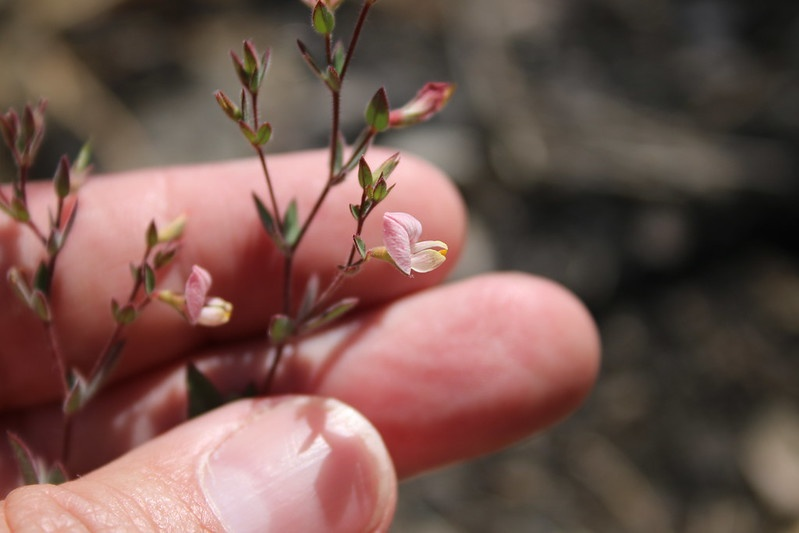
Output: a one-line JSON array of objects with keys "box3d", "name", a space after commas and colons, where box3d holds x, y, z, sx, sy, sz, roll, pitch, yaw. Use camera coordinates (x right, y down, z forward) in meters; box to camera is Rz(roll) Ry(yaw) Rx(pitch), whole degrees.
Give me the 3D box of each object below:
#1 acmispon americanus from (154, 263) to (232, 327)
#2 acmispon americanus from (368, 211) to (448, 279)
[{"box3d": [-0.428, 0.058, 1.651, 0.161, 0.097, 0.114, 14, 45, 8], "name": "acmispon americanus"}, {"box3d": [0.025, -0.037, 1.539, 0.123, 0.094, 0.104, 10, 58, 10], "name": "acmispon americanus"}]
